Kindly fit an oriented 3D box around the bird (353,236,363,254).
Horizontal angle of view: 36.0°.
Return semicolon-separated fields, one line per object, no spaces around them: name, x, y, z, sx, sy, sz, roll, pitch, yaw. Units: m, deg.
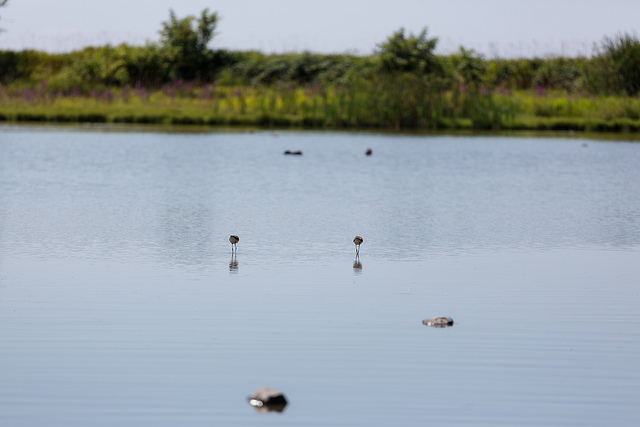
bird;0.482;0.395;12.342;0.080;0.092;0.217;-1;-34;3

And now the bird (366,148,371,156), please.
bird;1.002;-1.259;19.870;0.090;0.079;0.111;2;-27;1

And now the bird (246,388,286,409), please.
bird;-0.508;1.722;9.227;0.365;0.142;0.159;1;14;3
